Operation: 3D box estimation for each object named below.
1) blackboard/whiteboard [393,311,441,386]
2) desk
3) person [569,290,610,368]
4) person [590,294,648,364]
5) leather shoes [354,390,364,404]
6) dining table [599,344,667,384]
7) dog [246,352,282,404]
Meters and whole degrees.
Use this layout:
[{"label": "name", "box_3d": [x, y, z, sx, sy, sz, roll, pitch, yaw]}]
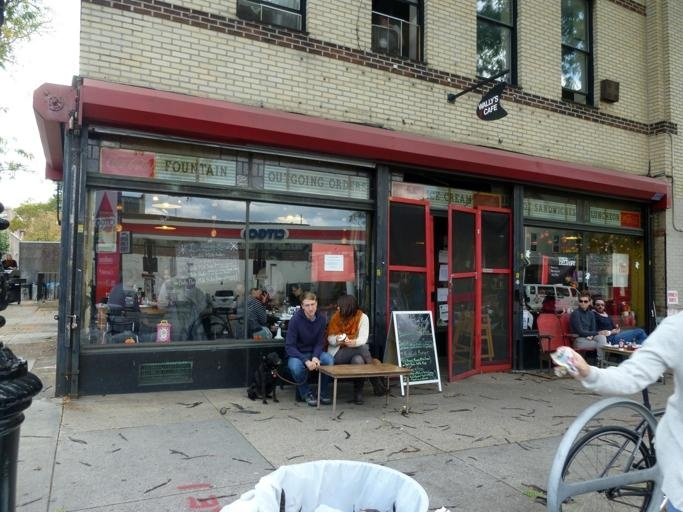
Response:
[{"label": "blackboard/whiteboard", "box_3d": [1.173, 1.480, 9.911, 0.862, 1.247, 0.504, -1, 7, -27]}, {"label": "desk", "box_3d": [0.312, 1.879, 8.908, 1.184, 0.596, 0.758, 2, -4, -24]}, {"label": "person", "box_3d": [4.565, 1.369, 11.478, 0.482, 1.334, 0.729, 3, -4, -31]}, {"label": "person", "box_3d": [5.172, 1.317, 11.549, 0.988, 1.245, 0.517, -9, 9, 34]}, {"label": "leather shoes", "box_3d": [0.250, 2.047, 9.147, 0.125, 0.153, 0.378, 0, -12, -3]}, {"label": "dining table", "box_3d": [4.700, 1.733, 10.101, 1.087, 0.547, 0.582, -4, -9, 25]}, {"label": "dog", "box_3d": [-1.127, 1.734, 9.078, 0.437, 0.728, 0.410, 1, 7, -10]}]
